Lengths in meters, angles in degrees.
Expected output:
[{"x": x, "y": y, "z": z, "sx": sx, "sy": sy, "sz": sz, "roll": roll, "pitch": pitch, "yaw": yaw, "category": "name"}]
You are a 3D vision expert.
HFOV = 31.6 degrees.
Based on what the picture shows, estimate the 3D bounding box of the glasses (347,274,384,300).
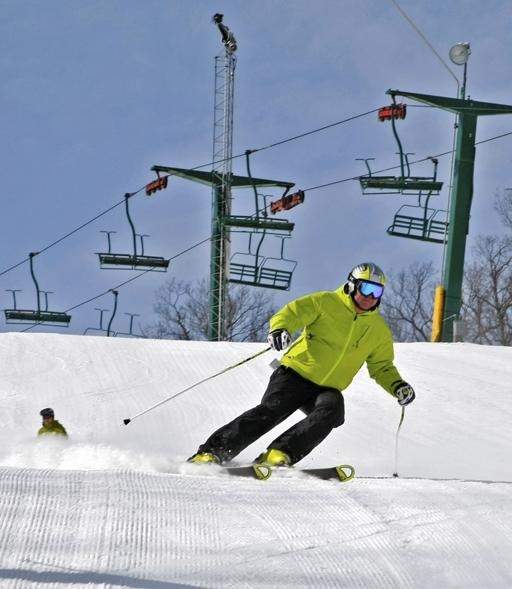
[{"x": 0.690, "y": -0.046, "z": 5.650, "sx": 0.169, "sy": 0.106, "sz": 0.201, "roll": 25, "pitch": -13, "yaw": -18, "category": "glasses"}]

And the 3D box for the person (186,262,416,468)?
[{"x": 0.389, "y": 0.534, "z": 5.641, "sx": 0.877, "sy": 1.715, "sz": 0.549, "roll": 32, "pitch": -26, "yaw": 0, "category": "person"}]

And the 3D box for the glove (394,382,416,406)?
[{"x": 0.991, "y": 0.667, "z": 6.098, "sx": 0.138, "sy": 0.163, "sz": 0.155, "roll": -10, "pitch": -38, "yaw": 6, "category": "glove"}]

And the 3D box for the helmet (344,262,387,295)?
[{"x": 0.668, "y": -0.086, "z": 5.626, "sx": 0.248, "sy": 0.160, "sz": 0.244, "roll": 0, "pitch": 0, "yaw": 5, "category": "helmet"}]
